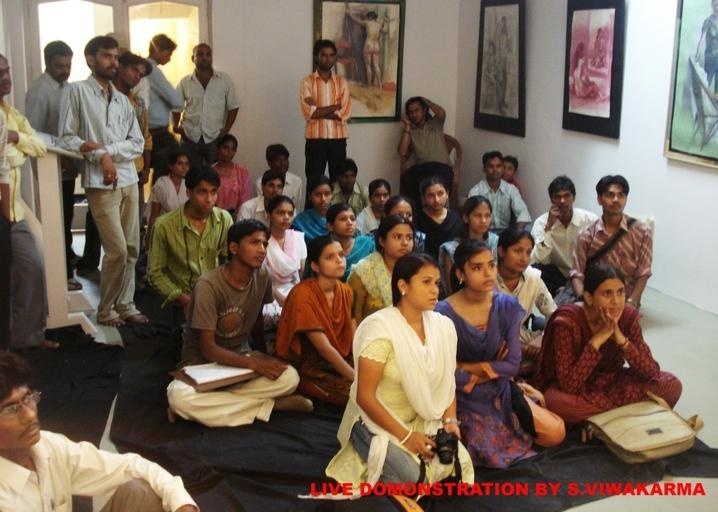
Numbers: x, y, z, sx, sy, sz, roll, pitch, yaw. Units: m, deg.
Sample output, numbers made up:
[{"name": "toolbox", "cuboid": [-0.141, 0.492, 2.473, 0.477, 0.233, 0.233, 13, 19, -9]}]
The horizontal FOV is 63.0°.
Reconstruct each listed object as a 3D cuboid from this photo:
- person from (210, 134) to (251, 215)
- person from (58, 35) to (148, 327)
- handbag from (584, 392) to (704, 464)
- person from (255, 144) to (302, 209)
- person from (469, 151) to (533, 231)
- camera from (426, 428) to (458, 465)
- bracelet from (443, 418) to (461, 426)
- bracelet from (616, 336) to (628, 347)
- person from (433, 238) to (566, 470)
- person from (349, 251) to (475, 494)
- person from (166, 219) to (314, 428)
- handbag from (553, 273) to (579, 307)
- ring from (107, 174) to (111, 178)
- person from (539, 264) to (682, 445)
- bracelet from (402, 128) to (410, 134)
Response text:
[{"name": "person", "cuboid": [-1.516, -0.875, 6.770, 0.584, 1.064, 0.698, -1, 17, -15]}, {"name": "person", "cuboid": [-2.089, -0.600, 4.904, 0.643, 2.344, 0.508, -9, 17, -34]}, {"name": "handbag", "cuboid": [1.731, 1.073, 3.624, 0.467, 0.189, 0.624, -14, 10, -7]}, {"name": "person", "cuboid": [-0.968, -0.755, 7.079, 0.514, 1.231, 0.372, 0, 18, -16]}, {"name": "person", "cuboid": [1.668, -0.730, 7.101, 0.774, 1.062, 0.785, -4, 6, -35]}, {"name": "camera", "cuboid": [0.457, 1.018, 3.145, 0.163, 0.084, 0.180, -12, 34, 23]}, {"name": "bracelet", "cuboid": [0.526, 0.918, 3.247, 0.066, 0.025, 0.049, -1, -2, -31]}, {"name": "bracelet", "cuboid": [1.626, 0.529, 3.614, 0.056, 0.037, 0.068, 1, 5, 0]}, {"name": "person", "cuboid": [0.741, 0.559, 3.594, 0.991, 1.212, 0.716, -1, 12, -15]}, {"name": "person", "cuboid": [0.209, 0.630, 3.188, 0.703, 1.229, 0.478, 4, 15, 10]}, {"name": "person", "cuboid": [-0.818, 0.418, 3.885, 0.900, 1.253, 0.607, -4, 15, -20]}, {"name": "handbag", "cuboid": [1.852, 0.331, 5.228, 0.077, 0.274, 0.283, 29, 28, -25]}, {"name": "ring", "cuboid": [-2.005, -0.648, 4.706, 0.024, 0.024, 0.006, 9, -4, -23]}, {"name": "person", "cuboid": [1.570, 0.528, 3.797, 0.891, 0.938, 0.595, -6, 15, -8]}, {"name": "bracelet", "cuboid": [0.655, -1.729, 8.055, 0.073, 0.057, 0.075, 2, 3, -2]}]
